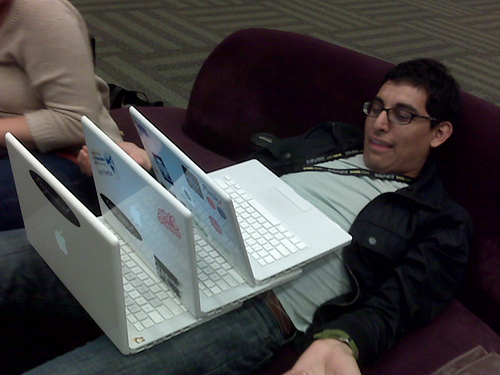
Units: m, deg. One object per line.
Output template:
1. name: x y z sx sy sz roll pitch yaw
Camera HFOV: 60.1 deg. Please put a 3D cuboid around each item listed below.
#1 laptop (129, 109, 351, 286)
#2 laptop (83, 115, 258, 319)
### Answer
1. laptop: -0.029 0.032 1.330 0.435 0.521 0.600 -36 51 -18
2. laptop: -0.197 0.043 1.227 0.345 0.362 0.524 -18 43 -37
